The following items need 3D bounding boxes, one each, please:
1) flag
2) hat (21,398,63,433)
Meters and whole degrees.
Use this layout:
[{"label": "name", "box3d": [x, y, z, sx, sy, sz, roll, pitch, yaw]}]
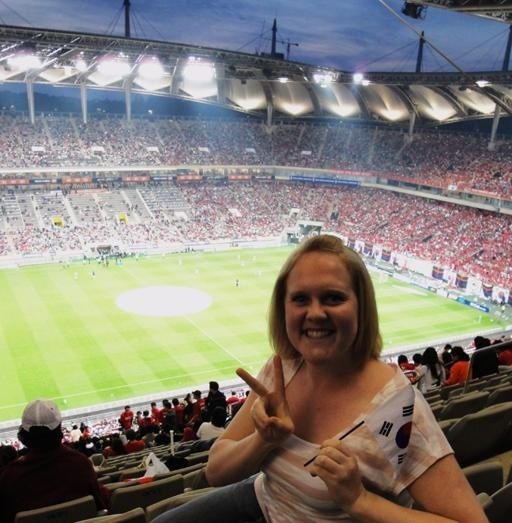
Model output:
[{"label": "flag", "box3d": [0.694, 0.829, 2.181, 0.284, 0.427, 0.117, -4, -2, -25]}, {"label": "hat", "box3d": [-2.137, 1.517, 4.417, 0.352, 0.294, 0.243, -3, -2, -24]}]
